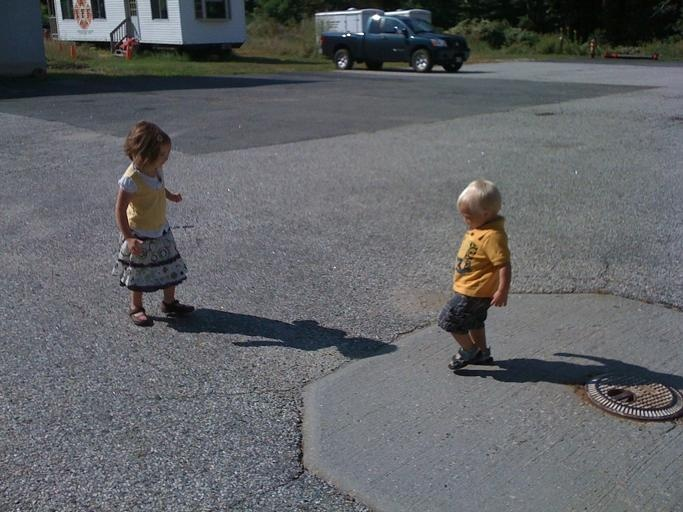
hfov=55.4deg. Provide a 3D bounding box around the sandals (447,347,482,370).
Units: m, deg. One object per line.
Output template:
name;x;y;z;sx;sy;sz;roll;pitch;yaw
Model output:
sandals;0.725;0.605;3.907;0.215;0.084;0.090;-16;22;-5

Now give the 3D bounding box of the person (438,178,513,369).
person;0.774;0.115;3.790;0.372;1.102;0.482;4;24;9

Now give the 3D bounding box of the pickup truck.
pickup truck;2.100;-8.185;25.510;6.045;1.894;2.578;15;29;35

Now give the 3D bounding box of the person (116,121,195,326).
person;-1.312;-0.216;4.387;0.466;1.321;0.396;-12;27;-27

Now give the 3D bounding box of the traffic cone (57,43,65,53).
traffic cone;-13.987;-10.379;32.450;0.172;0.281;1.372;-20;13;-7

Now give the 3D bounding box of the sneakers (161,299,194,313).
sneakers;-1.161;0.356;4.659;0.245;0.088;0.081;-2;16;-8
